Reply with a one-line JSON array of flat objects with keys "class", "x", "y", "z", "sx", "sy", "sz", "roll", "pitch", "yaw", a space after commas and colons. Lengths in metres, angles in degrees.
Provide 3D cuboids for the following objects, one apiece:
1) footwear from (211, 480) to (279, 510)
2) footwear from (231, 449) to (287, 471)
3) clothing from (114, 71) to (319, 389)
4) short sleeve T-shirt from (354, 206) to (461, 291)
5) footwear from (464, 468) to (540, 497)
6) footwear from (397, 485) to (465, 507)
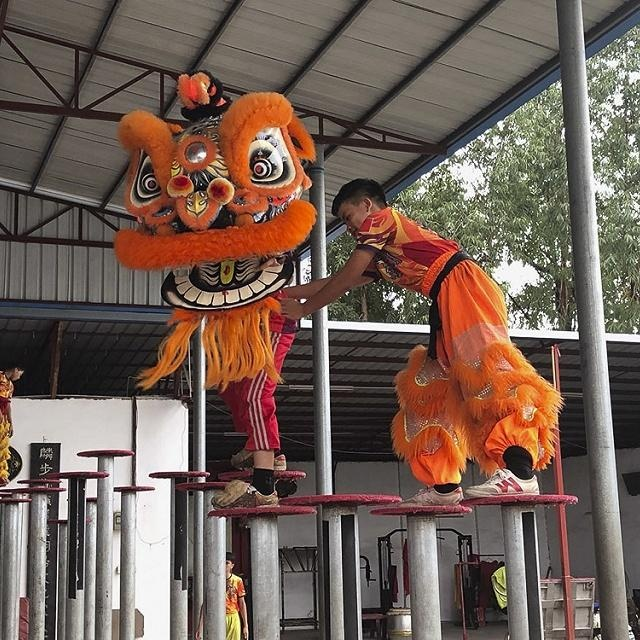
[{"class": "footwear", "x": -0.380, "y": 0.890, "z": 6.030, "sx": 0.387, "sy": 0.126, "sz": 0.125, "roll": 6, "pitch": -16, "yaw": -11}, {"class": "footwear", "x": -0.357, "y": 0.771, "z": 6.474, "sx": 0.376, "sy": 0.127, "sz": 0.118, "roll": 4, "pitch": -13, "yaw": -4}, {"class": "clothing", "x": -0.531, "y": -0.486, "z": 6.009, "sx": 1.015, "sy": 1.695, "sz": 0.500, "roll": -9, "pitch": -17, "yaw": 9}, {"class": "short sleeve T-shirt", "x": 0.456, "y": -0.357, "z": 6.204, "sx": 0.532, "sy": 0.481, "sz": 0.196, "roll": 28, "pitch": -13, "yaw": 10}, {"class": "footwear", "x": 0.886, "y": 0.793, "z": 5.692, "sx": 0.348, "sy": 0.148, "sz": 0.335, "roll": -6, "pitch": -14, "yaw": 7}, {"class": "footwear", "x": 0.573, "y": 0.883, "z": 5.868, "sx": 0.352, "sy": 0.108, "sz": 0.105, "roll": 0, "pitch": -30, "yaw": 5}]
